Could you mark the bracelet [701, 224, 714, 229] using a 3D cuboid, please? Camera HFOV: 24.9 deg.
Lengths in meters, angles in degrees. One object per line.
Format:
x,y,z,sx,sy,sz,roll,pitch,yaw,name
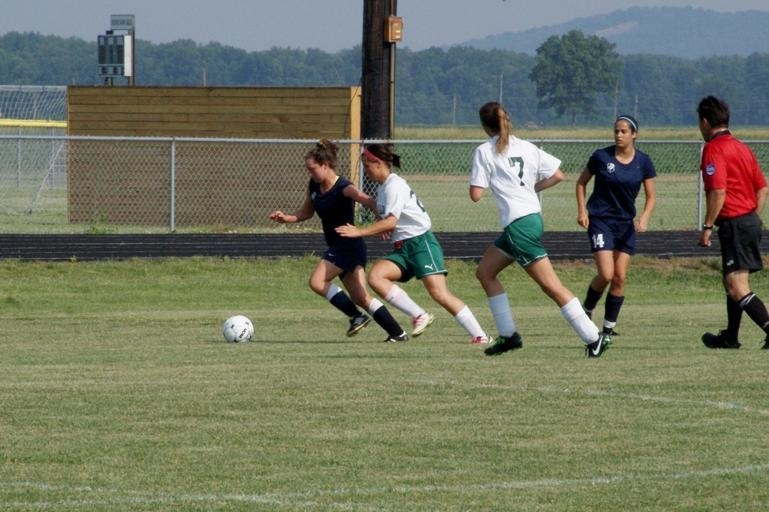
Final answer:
6.424,-0.636,34.671,0.180,0.121,0.343,0,5,16,bracelet
